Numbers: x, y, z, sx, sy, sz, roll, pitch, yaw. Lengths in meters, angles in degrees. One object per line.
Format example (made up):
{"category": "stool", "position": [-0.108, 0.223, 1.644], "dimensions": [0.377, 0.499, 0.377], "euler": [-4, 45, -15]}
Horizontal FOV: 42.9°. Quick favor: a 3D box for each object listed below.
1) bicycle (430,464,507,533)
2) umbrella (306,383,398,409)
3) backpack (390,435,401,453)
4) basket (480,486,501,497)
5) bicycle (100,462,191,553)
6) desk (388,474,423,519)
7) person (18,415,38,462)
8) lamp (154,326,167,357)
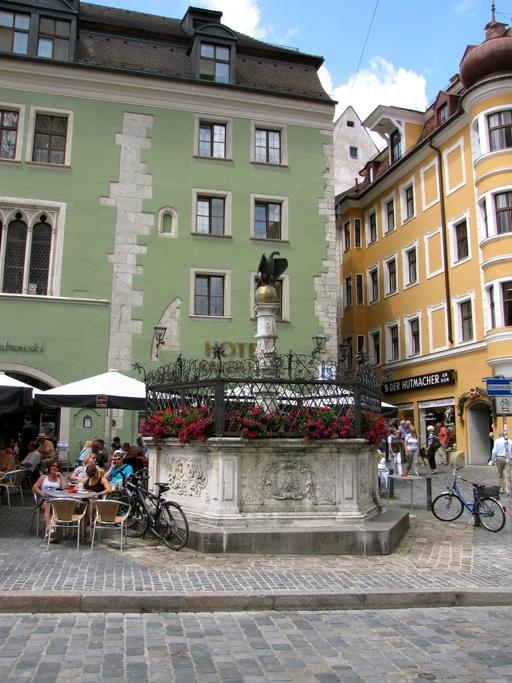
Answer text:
{"category": "bicycle", "position": [4.128, 3.052, 12.584], "dimensions": [1.759, 1.101, 0.978], "euler": [1, 2, 40]}
{"category": "umbrella", "position": [1.309, 0.864, 9.868], "dimensions": [0.914, 0.401, 0.896], "euler": [0, -7, 11]}
{"category": "backpack", "position": [4.615, 3.417, 21.491], "dimensions": [0.279, 0.539, 0.798], "euler": [0, -8, 6]}
{"category": "basket", "position": [4.364, 2.798, 12.108], "dimensions": [0.317, 0.179, 0.297], "euler": [-1, -8, 17]}
{"category": "bicycle", "position": [-1.605, 2.660, 9.965], "dimensions": [0.755, 0.960, 1.847], "euler": [1, 0, -41]}
{"category": "desk", "position": [3.835, 3.621, 16.643], "dimensions": [0.902, 0.737, 7.331], "euler": [-1, -8, 14]}
{"category": "person", "position": [-6.323, 2.929, 18.017], "dimensions": [0.419, 1.333, 0.343], "euler": [12, -26, -35]}
{"category": "lamp", "position": [-3.357, -0.071, 22.831], "dimensions": [0.454, 1.140, 1.478], "euler": [3, -8, -8]}
